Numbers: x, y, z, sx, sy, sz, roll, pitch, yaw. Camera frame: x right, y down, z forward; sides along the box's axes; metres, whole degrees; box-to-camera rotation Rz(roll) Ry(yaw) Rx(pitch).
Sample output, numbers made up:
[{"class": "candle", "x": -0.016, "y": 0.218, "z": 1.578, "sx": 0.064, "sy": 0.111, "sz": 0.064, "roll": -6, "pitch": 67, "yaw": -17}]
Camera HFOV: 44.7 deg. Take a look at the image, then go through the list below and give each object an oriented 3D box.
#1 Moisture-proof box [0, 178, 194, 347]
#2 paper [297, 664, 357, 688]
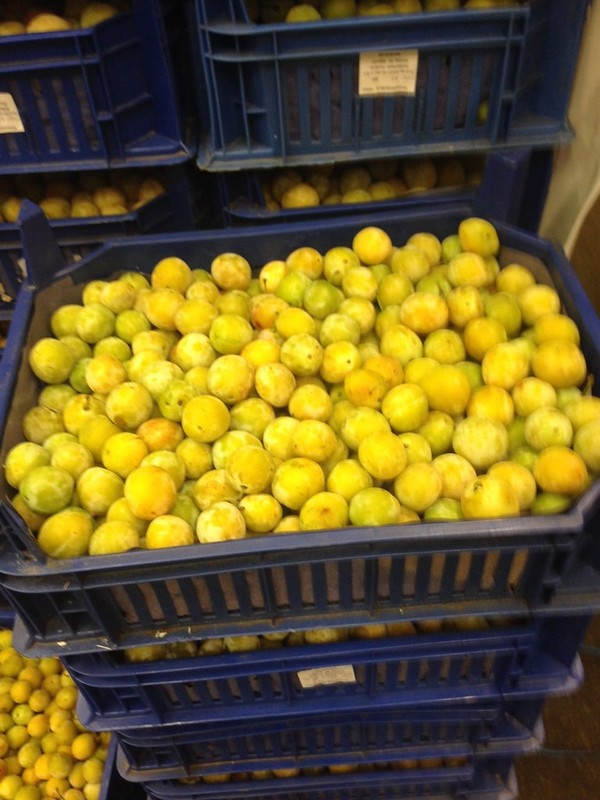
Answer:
[{"class": "Moisture-proof box", "x": -0.907, "y": -0.668, "z": 3.328, "sx": 0.889, "sy": 0.284, "sz": 0.523, "roll": -5, "pitch": 50, "yaw": 16}, {"class": "paper", "x": 0.068, "y": 0.683, "z": 1.796, "sx": 0.105, "sy": 0.104, "sz": 0.028, "roll": -14, "pitch": 55, "yaw": 8}]
